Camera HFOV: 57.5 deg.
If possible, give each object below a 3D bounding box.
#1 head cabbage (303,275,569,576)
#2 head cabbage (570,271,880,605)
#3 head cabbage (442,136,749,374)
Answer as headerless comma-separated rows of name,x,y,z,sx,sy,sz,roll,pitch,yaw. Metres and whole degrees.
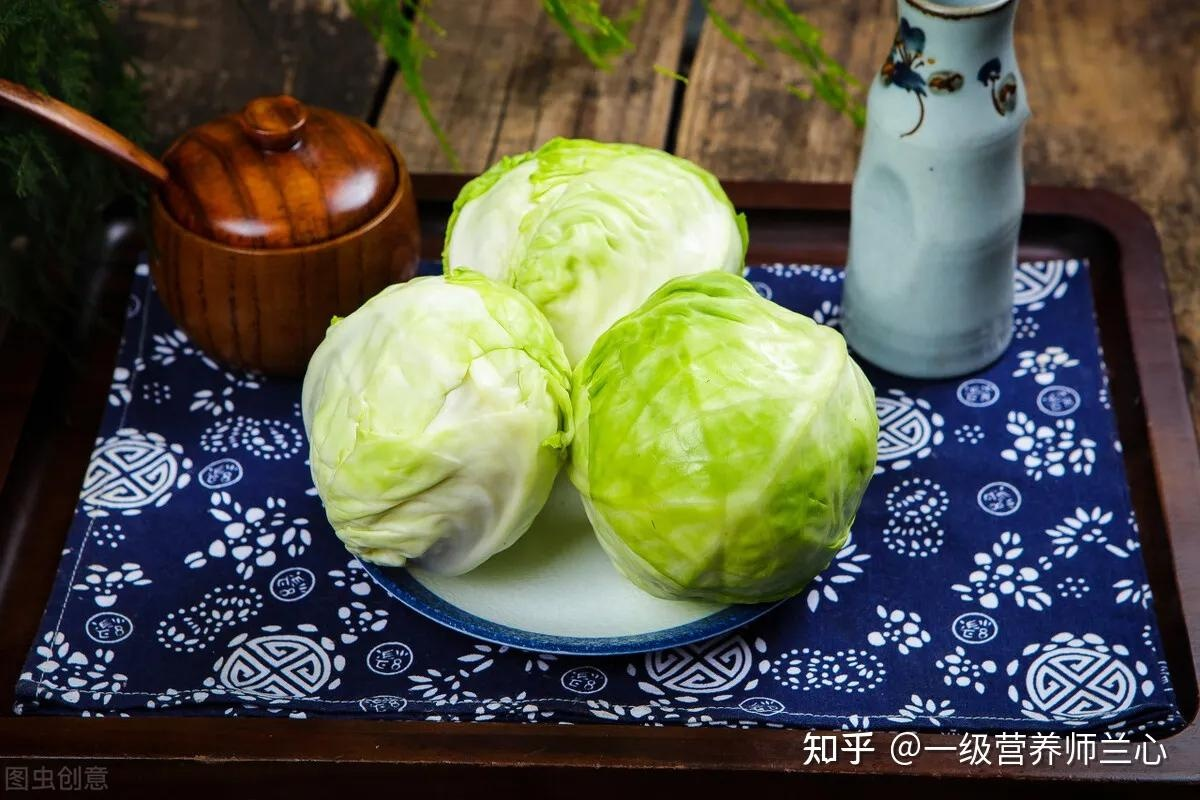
head cabbage,-0.148,-0.001,1.194,0.241,0.255,0.302,2,41,-2
head cabbage,0.126,0.048,1.184,0.315,0.328,0.381,-13,26,-3
head cabbage,-0.007,-0.199,1.209,0.271,0.175,0.288,29,46,25
